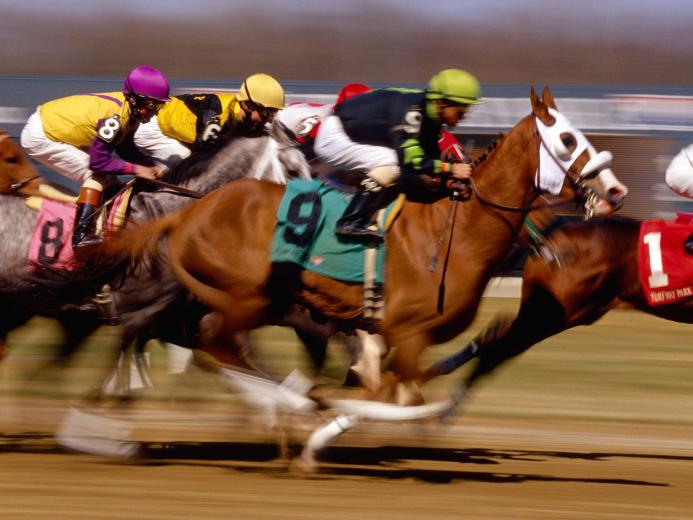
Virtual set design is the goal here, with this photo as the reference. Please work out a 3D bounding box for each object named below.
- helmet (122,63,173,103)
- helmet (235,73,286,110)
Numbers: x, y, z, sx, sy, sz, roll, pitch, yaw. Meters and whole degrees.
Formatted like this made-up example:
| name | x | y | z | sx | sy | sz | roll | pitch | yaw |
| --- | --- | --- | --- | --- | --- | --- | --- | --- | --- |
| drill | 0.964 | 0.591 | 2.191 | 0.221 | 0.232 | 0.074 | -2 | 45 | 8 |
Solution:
| name | x | y | z | sx | sy | sz | roll | pitch | yaw |
| --- | --- | --- | --- | --- | --- | --- | --- | --- | --- |
| helmet | -1.214 | -1.039 | 5.008 | 0.331 | 0.146 | 0.186 | 16 | 34 | 13 |
| helmet | -0.507 | -1.015 | 5.182 | 0.345 | 0.122 | 0.201 | 7 | 17 | 7 |
